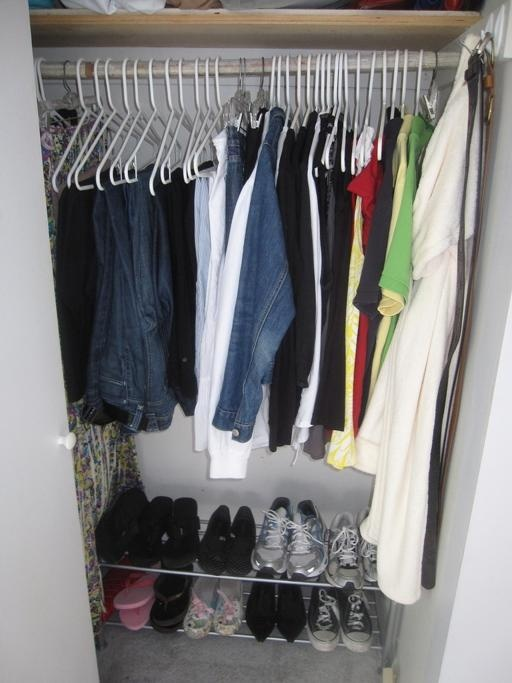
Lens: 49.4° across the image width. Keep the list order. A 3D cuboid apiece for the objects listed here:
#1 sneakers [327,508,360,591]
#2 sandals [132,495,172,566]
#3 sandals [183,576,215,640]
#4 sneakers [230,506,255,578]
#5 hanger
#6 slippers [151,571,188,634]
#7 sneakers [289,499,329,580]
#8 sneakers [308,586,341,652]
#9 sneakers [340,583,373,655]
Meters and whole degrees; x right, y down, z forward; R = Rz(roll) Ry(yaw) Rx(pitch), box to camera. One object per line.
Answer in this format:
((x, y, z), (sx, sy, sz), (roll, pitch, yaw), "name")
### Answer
((0.265, 0.631, 1.660), (0.105, 0.129, 0.246), (5, 16, 9), "sneakers")
((-0.334, 0.594, 1.742), (0.053, 0.076, 0.182), (8, 12, -1), "sandals")
((-0.172, 0.809, 1.735), (0.059, 0.059, 0.198), (1, 32, 4), "sandals")
((-0.044, 0.620, 1.691), (0.072, 0.086, 0.246), (5, 13, -3), "sneakers")
((-0.103, -0.562, 1.442), (1.051, 0.360, 0.610), (3, 16, 0), "hanger")
((-0.263, 0.794, 1.683), (0.076, 0.056, 0.175), (-2, 40, 7), "slippers")
((0.152, 0.581, 1.638), (0.077, 0.112, 0.265), (-3, -2, 4), "sneakers")
((0.195, 0.822, 1.632), (0.059, 0.095, 0.209), (1, -4, 2), "sneakers")
((0.286, 0.819, 1.692), (0.079, 0.125, 0.275), (-2, 2, -2), "sneakers")
